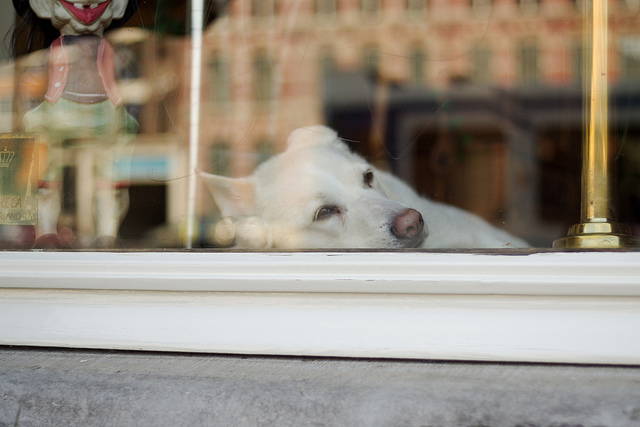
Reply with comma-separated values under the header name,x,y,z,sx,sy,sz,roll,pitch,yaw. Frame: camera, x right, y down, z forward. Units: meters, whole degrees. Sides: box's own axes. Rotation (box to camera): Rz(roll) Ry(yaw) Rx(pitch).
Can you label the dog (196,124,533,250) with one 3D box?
name,x,y,z,sx,sy,sz,roll,pitch,yaw
dog,0.129,-0.030,3.992,0.943,0.343,0.636,-2,14,16
